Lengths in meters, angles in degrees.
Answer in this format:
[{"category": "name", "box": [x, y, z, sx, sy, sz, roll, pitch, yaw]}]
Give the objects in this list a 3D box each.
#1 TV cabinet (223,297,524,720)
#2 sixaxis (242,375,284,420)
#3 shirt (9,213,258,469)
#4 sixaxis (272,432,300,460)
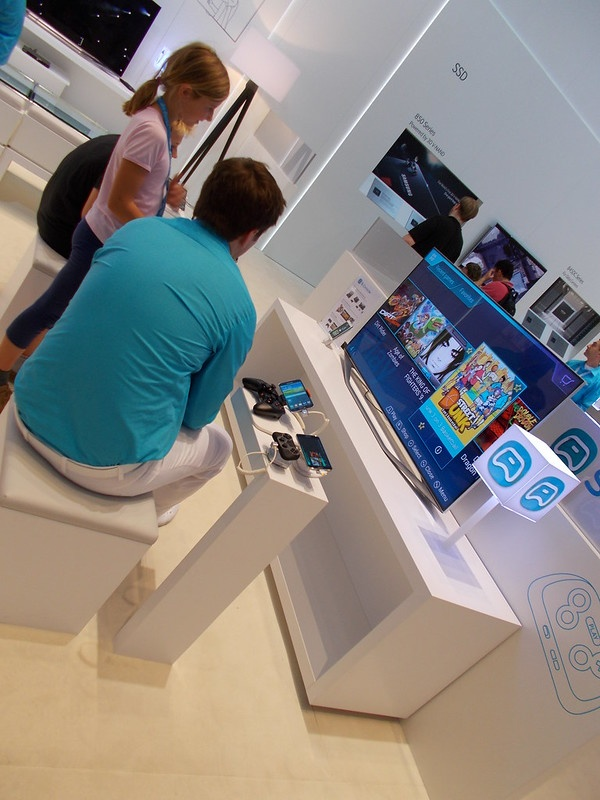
[{"category": "TV cabinet", "box": [0.277, 0.408, 1.887, 0.400, 0.793, 1.468, 16, 37, -29]}, {"category": "sixaxis", "box": [-0.115, -0.004, 1.858, 0.129, 0.087, 0.195, 19, 24, -31]}, {"category": "shirt", "box": [-0.352, -0.123, 1.258, 0.413, 0.359, 0.314, 40, 21, -6]}, {"category": "sixaxis", "box": [-0.030, 0.136, 1.563, 0.069, 0.034, 0.101, 5, 44, -35]}]
